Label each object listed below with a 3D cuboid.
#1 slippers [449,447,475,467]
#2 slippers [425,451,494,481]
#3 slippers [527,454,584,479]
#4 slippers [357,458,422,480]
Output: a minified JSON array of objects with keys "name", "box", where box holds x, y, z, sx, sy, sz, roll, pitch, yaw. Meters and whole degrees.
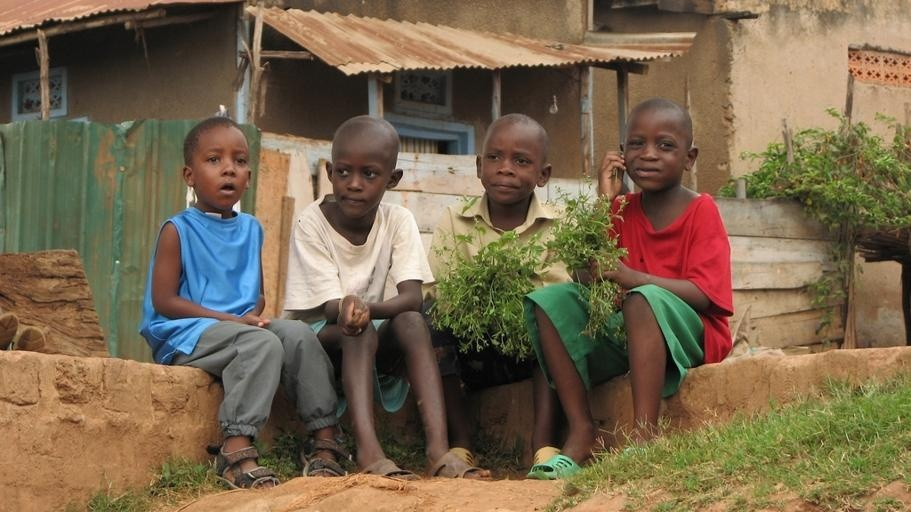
[{"name":"slippers","box":[0.079,2.081,12.712,0.212,0.157,0.180,-1,-8,39]},{"name":"slippers","box":[0.060,2.101,12.344,0.488,0.181,0.285,-1,-2,22]},{"name":"slippers","box":[0.991,2.128,12.334,0.450,0.153,0.245,0,-5,-27]},{"name":"slippers","box":[-0.632,2.117,12.259,0.557,0.141,0.224,-5,-8,33]}]
